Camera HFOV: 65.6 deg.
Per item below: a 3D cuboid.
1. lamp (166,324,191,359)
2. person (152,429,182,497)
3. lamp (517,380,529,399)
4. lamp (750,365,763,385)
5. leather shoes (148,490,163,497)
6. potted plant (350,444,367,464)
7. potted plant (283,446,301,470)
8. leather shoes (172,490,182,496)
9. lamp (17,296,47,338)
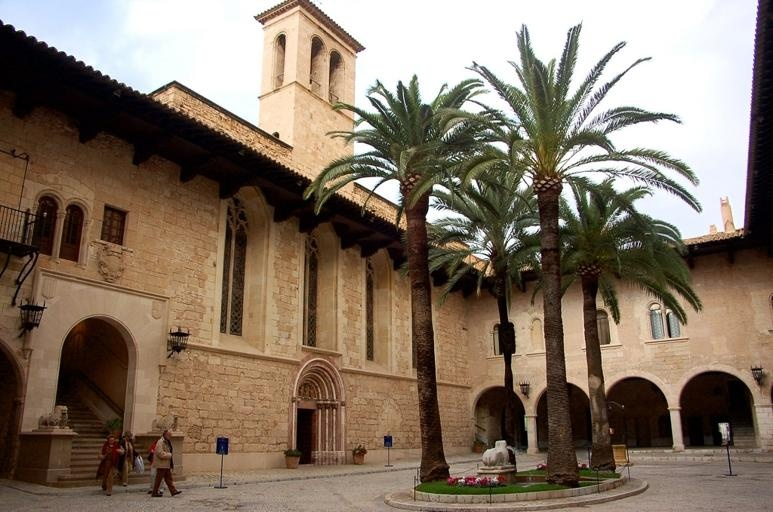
[{"bbox_3d":[-8.147,3.402,23.559,1.071,1.400,1.027,7,-21,-19],"label":"lamp"},{"bbox_3d":[-6.744,6.435,18.646,0.831,1.962,1.132,5,-22,-16],"label":"person"},{"bbox_3d":[8.542,8.365,37.304,0.707,0.991,0.546,-7,-22,13],"label":"lamp"},{"bbox_3d":[19.288,6.208,31.330,0.585,0.952,0.479,-14,-25,29],"label":"lamp"},{"bbox_3d":[-6.979,7.208,18.156,0.525,0.202,0.194,-1,-16,6],"label":"leather shoes"},{"bbox_3d":[-1.271,9.825,29.609,0.854,0.870,0.888,-7,-20,13],"label":"potted plant"},{"bbox_3d":[-4.054,8.925,26.352,0.790,0.777,0.794,-6,-16,30],"label":"potted plant"},{"bbox_3d":[-6.356,7.247,18.314,0.292,0.118,0.095,-13,-13,-24],"label":"leather shoes"},{"bbox_3d":[-11.813,2.047,20.195,0.759,1.079,0.826,8,-6,-15],"label":"lamp"}]
